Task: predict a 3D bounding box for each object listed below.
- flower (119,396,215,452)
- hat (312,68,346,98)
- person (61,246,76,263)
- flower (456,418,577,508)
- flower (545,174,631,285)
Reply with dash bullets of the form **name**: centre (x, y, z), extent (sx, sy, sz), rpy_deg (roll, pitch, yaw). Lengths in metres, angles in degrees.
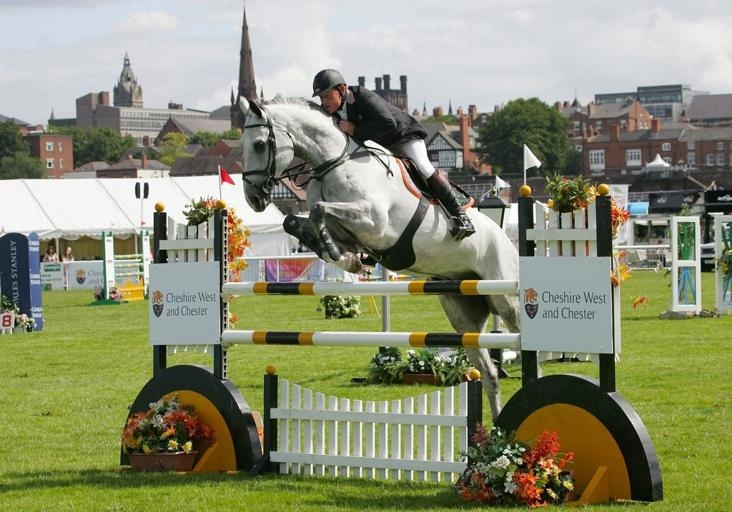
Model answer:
- **flower**: centre (-2.437, 2.110, 17.962), extent (0.925, 0.677, 0.826), rpy_deg (0, -3, -9)
- **hat**: centre (-0.443, -2.106, 17.774), extent (0.379, 0.306, 0.343), rpy_deg (0, 0, -3)
- **person**: centre (-7.886, -0.034, 38.505), extent (0.298, 0.400, 1.229), rpy_deg (0, 0, -12)
- **flower**: centre (1.782, 2.369, 16.913), extent (0.998, 0.745, 0.947), rpy_deg (-1, -11, 20)
- **flower**: centre (2.840, -0.342, 17.608), extent (1.346, 1.387, 0.714), rpy_deg (2, -1, 44)
